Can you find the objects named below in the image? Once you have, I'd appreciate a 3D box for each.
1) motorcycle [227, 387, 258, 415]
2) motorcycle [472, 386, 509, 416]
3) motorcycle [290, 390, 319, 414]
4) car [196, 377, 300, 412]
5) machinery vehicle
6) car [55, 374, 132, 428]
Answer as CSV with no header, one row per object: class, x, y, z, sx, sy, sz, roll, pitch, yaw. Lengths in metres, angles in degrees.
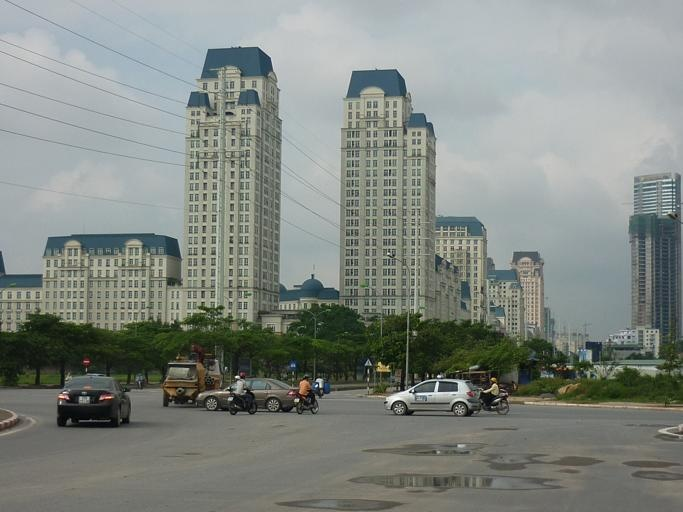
motorcycle,-5.546,8.231,78.637,1.444,1.490,1.076,1,-11,-5
motorcycle,8.885,8.539,80.787,2.144,1.266,1.051,-1,-5,30
motorcycle,-2.092,8.510,80.113,1.575,0.964,0.869,3,-2,-44
car,-5.445,8.187,81.678,5.353,1.666,2.199,0,-5,10
machinery vehicle,-9.178,7.458,85.141,2.815,3.022,6.675,0,-3,-5
car,-12.628,7.416,70.889,3.390,2.747,4.915,1,-7,-6
